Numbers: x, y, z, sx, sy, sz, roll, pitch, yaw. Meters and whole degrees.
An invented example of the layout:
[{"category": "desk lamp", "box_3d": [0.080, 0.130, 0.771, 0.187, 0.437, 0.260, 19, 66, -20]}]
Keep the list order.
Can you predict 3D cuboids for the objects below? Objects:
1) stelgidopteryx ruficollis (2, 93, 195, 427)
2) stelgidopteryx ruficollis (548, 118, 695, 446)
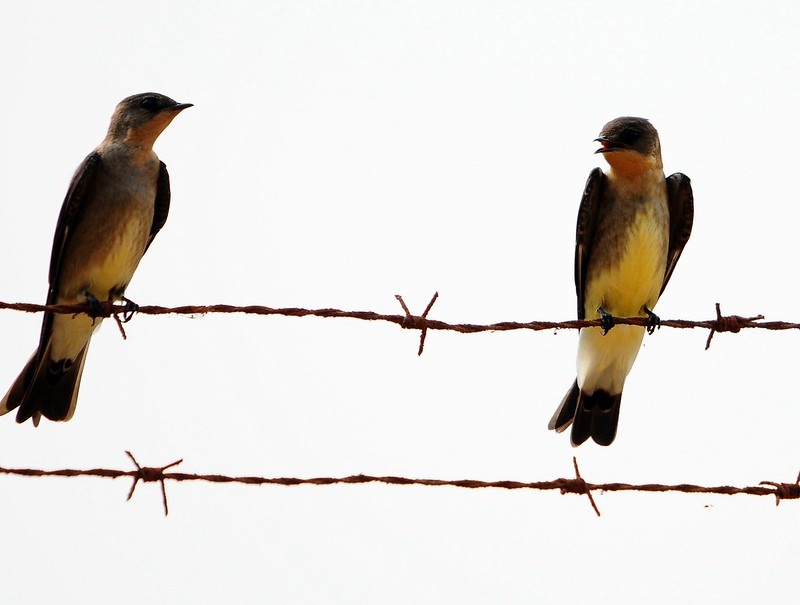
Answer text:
[{"category": "stelgidopteryx ruficollis", "box_3d": [-1.909, -0.337, 6.668, 0.647, 1.849, 1.547, 27, -55, -18]}, {"category": "stelgidopteryx ruficollis", "box_3d": [1.429, -0.237, 6.805, 0.822, 1.588, 2.111, 3, -92, 4]}]
